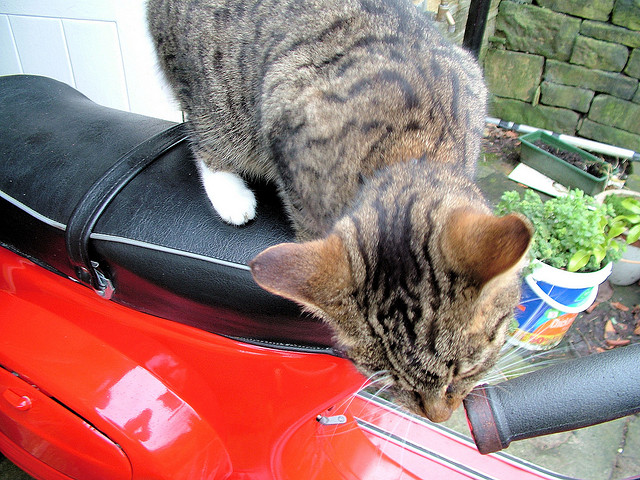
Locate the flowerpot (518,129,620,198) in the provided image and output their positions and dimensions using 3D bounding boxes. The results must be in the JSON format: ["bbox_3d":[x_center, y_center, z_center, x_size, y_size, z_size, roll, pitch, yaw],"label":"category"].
[{"bbox_3d":[1.407,-0.456,2.894,0.324,0.226,0.587,-20,48,-32],"label":"flowerpot"}]
